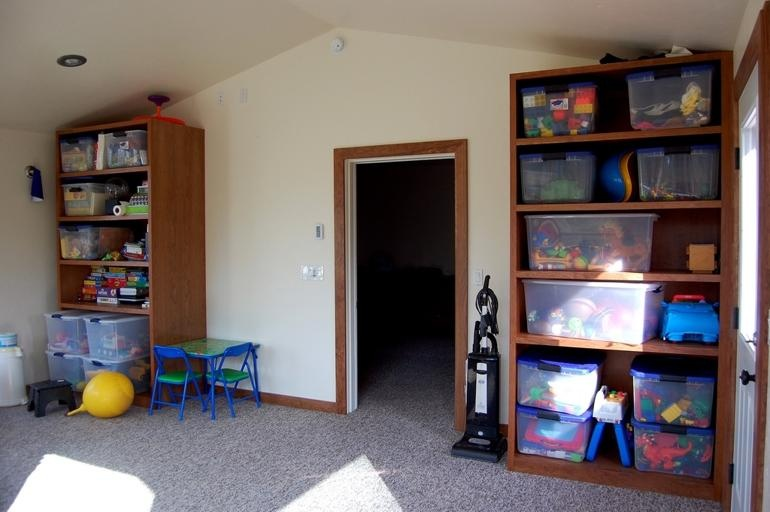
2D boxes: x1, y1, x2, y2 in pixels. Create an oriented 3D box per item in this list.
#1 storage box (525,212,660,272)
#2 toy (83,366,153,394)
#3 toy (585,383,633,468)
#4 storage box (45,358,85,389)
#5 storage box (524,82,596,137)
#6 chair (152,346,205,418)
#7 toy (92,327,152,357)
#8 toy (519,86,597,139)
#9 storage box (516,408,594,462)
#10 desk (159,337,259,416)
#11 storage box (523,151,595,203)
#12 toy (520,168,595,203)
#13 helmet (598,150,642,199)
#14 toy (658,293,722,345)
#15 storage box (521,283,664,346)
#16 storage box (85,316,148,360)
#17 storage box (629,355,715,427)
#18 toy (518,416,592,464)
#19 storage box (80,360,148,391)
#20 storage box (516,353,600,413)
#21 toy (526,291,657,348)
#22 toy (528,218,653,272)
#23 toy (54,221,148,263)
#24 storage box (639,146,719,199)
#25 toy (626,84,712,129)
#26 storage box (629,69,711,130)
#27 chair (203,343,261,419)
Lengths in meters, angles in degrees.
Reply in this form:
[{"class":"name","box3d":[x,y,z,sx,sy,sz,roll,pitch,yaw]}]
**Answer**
[{"class":"storage box","box3d":[1.581,-0.099,4.371,0.792,0.364,0.522,0,0,27]},{"class":"toy","box3d":[-2.674,1.197,5.721,0.399,0.168,0.402,0,-1,31]},{"class":"toy","box3d":[1.847,1.356,4.542,0.369,0.562,0.392,3,15,38]},{"class":"storage box","box3d":[-3.422,1.207,6.036,0.371,0.277,0.350,2,3,12]},{"class":"storage box","box3d":[1.348,-1.145,4.395,0.552,0.402,0.131,2,10,13]},{"class":"chair","box3d":[-2.075,1.228,5.646,0.514,0.666,0.506,3,-2,-18]},{"class":"toy","box3d":[-2.714,0.839,5.843,0.385,0.253,0.389,1,6,6]},{"class":"toy","box3d":[1.349,-1.139,4.356,0.446,0.275,0.453,1,10,22]},{"class":"storage box","box3d":[1.350,1.460,4.515,0.470,0.295,0.475,1,0,20]},{"class":"desk","box3d":[-1.814,1.178,5.784,0.730,0.587,0.819,-1,-2,23]},{"class":"storage box","box3d":[1.455,-0.615,4.540,0.623,0.400,0.469,3,2,43]},{"class":"toy","box3d":[1.341,-0.543,4.394,0.396,0.196,0.292,1,2,22]},{"class":"helmet","box3d":[1.837,-0.634,4.382,0.145,0.348,0.299,-3,-3,-32]},{"class":"toy","box3d":[2.303,0.471,4.216,0.299,0.176,0.421,0,3,18]},{"class":"storage box","box3d":[1.591,0.386,4.402,0.806,0.345,0.552,-1,-2,25]},{"class":"storage box","box3d":[-2.777,0.822,5.843,0.553,0.363,0.417,2,2,19]},{"class":"storage box","box3d":[2.163,1.051,4.238,0.514,0.336,0.518,1,3,21]},{"class":"toy","box3d":[1.356,1.481,4.517,0.415,0.256,0.418,1,0,18]},{"class":"storage box","box3d":[-2.889,1.267,5.883,0.538,0.270,0.426,2,-13,24]},{"class":"storage box","box3d":[1.356,1.021,4.457,0.487,0.312,0.493,1,2,30]},{"class":"toy","box3d":[1.617,0.457,4.378,0.680,0.271,0.459,-3,-3,32]},{"class":"toy","box3d":[1.595,-0.105,4.369,0.741,0.344,0.494,0,1,27]},{"class":"toy","box3d":[-3.121,-0.146,6.202,0.517,0.347,0.816,1,1,23]},{"class":"storage box","box3d":[2.185,-0.609,4.141,0.621,0.430,0.384,2,7,24]},{"class":"toy","box3d":[2.113,-1.069,4.132,0.369,0.231,0.380,1,5,29]},{"class":"storage box","box3d":[2.278,-1.194,4.250,0.496,0.438,0.684,-6,7,-38]},{"class":"chair","box3d":[-1.597,1.227,5.706,0.492,0.677,0.452,-2,3,41]}]
